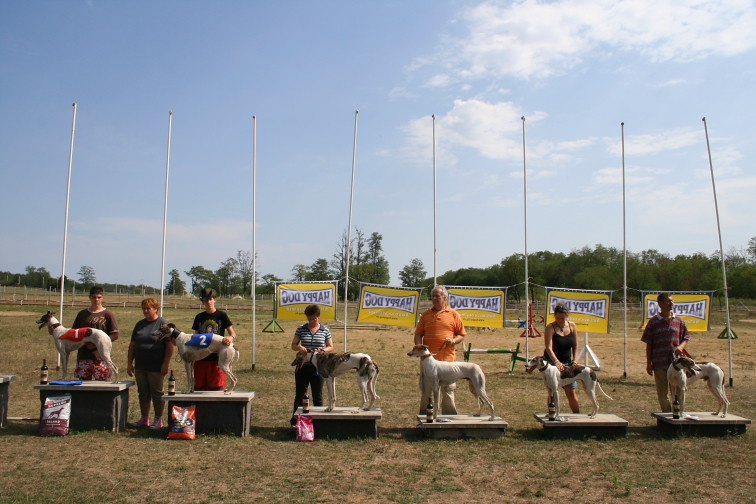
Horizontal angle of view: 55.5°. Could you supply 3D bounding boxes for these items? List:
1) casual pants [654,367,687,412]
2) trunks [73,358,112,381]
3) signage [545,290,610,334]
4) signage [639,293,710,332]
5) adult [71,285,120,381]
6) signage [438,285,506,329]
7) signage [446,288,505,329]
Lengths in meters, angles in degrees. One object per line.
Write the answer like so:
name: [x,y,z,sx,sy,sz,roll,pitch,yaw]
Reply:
casual pants: [7.642,3.459,18.736,0.700,0.590,1.989,-14,-3,21]
trunks: [-7.464,3.061,18.748,0.815,0.523,0.579,2,-4,-10]
signage: [6.794,2.000,24.402,1.652,1.120,0.035,2,-5,11]
signage: [9.555,1.903,22.950,1.831,1.067,0.028,-1,-11,15]
adult: [-7.374,2.131,18.524,1.420,2.277,1.486,3,5,9]
signage: [3.194,1.854,24.431,1.955,1.202,0.207,1,-5,4]
signage: [3.442,1.945,25.276,1.825,1.110,0.122,1,-5,4]
